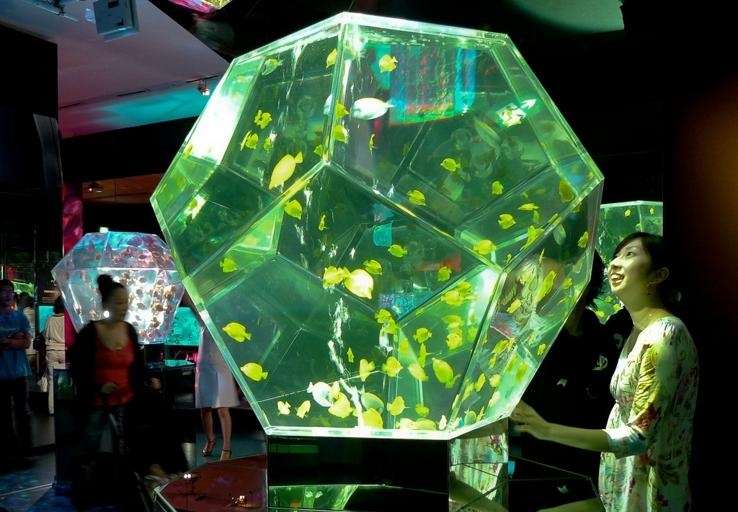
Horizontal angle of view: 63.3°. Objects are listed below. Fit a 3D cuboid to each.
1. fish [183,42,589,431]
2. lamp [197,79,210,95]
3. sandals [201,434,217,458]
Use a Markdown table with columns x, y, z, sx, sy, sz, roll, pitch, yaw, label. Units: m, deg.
| x | y | z | sx | sy | sz | roll | pitch | yaw | label |
| --- | --- | --- | --- | --- | --- | --- | --- | --- | --- |
| 0.003 | -0.089 | 1.802 | 1.079 | 1.080 | 0.941 | -17 | 41 | -18 | fish |
| -1.889 | -1.921 | 6.745 | 0.153 | 0.143 | 0.270 | 4 | 8 | -6 | lamp |
| -1.529 | 1.787 | 5.649 | 0.092 | 0.094 | 0.246 | -5 | 7 | -3 | sandals |
